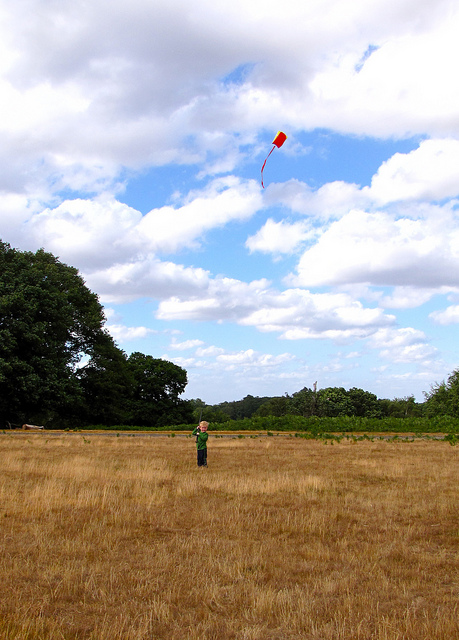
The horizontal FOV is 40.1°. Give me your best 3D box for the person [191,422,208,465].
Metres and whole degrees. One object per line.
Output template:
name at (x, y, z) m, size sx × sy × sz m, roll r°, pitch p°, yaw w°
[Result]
person at (-0.764, 3.337, 16.958) m, size 0.350 × 1.155 × 0.821 m, roll 0°, pitch -7°, yaw -4°
